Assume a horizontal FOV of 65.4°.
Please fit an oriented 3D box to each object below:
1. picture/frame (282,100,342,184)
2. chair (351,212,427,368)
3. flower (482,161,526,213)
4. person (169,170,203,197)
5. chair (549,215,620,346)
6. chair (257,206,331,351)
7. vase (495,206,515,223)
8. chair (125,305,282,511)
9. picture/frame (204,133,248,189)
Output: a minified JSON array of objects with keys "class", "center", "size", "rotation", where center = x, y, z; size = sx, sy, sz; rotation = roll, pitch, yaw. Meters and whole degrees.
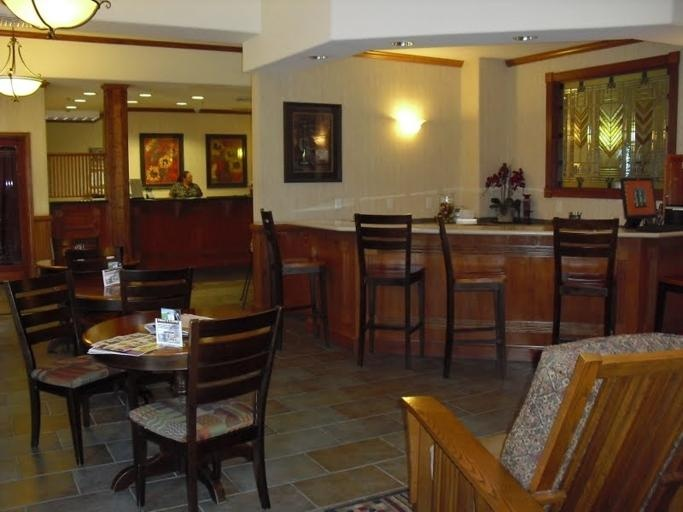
[{"class":"picture/frame","center":[-0.412,-1.447,6.636],"size":[1.063,1.251,0.129],"rotation":[-2,6,-26]},{"class":"chair","center":[0.438,0.289,5.029],"size":[0.674,1.405,0.679],"rotation":[2,9,16]},{"class":"flower","center":[2.299,-1.014,7.662],"size":[0.702,0.841,0.671],"rotation":[4,12,21]},{"class":"person","center":[-3.155,-1.433,10.690],"size":[0.578,0.488,1.521],"rotation":[-3,9,-15]},{"class":"chair","center":[2.096,0.222,4.600],"size":[0.519,1.132,0.669],"rotation":[4,10,26]},{"class":"chair","center":[-0.513,0.223,5.723],"size":[0.838,1.401,0.859],"rotation":[1,4,32]},{"class":"vase","center":[2.322,-0.574,7.575],"size":[0.262,0.245,0.197],"rotation":[0,2,-3]},{"class":"chair","center":[-0.705,0.785,2.755],"size":[0.706,1.081,0.508],"rotation":[4,10,26]},{"class":"picture/frame","center":[-3.042,-2.480,13.984],"size":[1.065,1.420,0.240],"rotation":[-5,10,-29]}]
